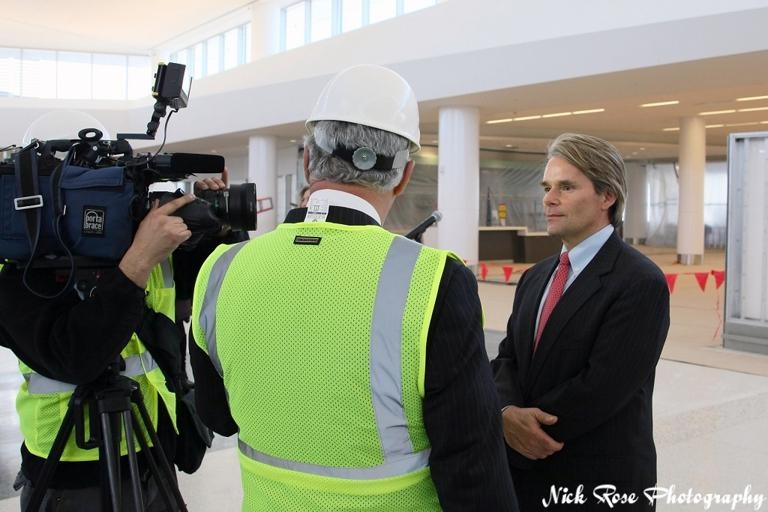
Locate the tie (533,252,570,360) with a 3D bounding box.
[{"bbox_3d":[0.755,0.177,2.535,0.091,0.069,0.661,0,43,24],"label":"tie"}]

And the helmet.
[{"bbox_3d":[-0.050,-0.535,1.928,0.339,0.227,0.332,-3,1,2],"label":"helmet"}]
